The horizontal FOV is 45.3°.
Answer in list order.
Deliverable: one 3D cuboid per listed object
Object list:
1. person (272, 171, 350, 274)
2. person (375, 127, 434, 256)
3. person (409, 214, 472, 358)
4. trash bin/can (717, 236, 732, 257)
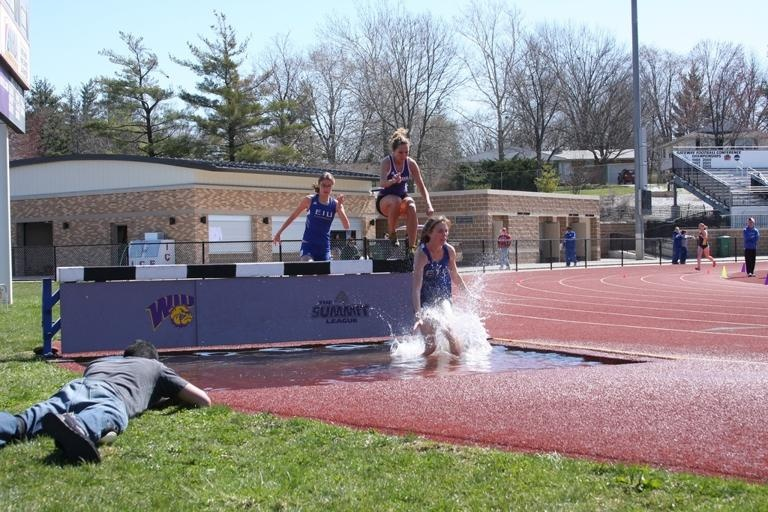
[{"bbox_3d":[-1.361,-0.266,16.524,1.398,2.330,0.831,2,-4,12],"label":"person"},{"bbox_3d":[0.258,-1.096,16.092,1.023,2.137,1.561,1,1,0],"label":"person"},{"bbox_3d":[0.899,0.469,15.330,0.821,2.338,0.766,0,12,1],"label":"person"},{"bbox_3d":[18.482,-0.506,49.993,0.754,1.087,0.620,-1,12,-4],"label":"trash bin/can"}]
